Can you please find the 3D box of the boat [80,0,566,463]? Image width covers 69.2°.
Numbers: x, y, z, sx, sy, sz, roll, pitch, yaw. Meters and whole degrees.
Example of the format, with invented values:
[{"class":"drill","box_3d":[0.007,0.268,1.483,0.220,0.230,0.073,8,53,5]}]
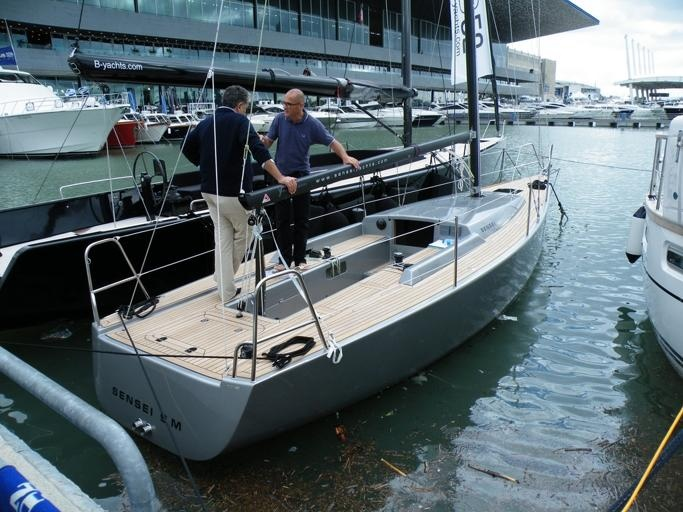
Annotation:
[{"class":"boat","box_3d":[0.106,-0.092,3.830,3.756,1.945,1.372,-21,25,-40]}]
